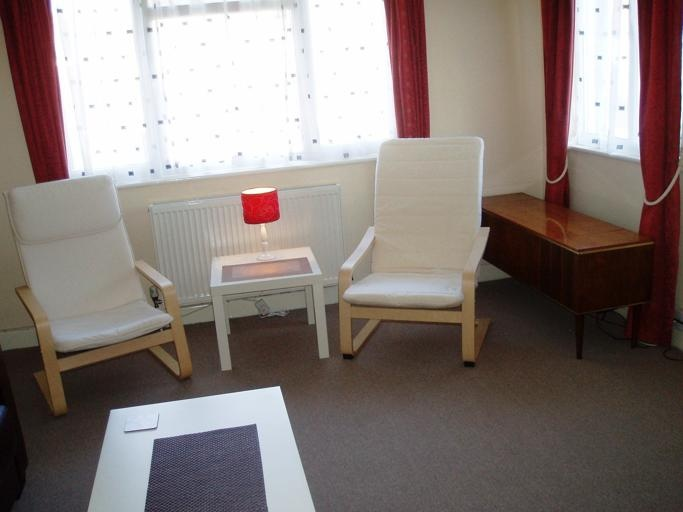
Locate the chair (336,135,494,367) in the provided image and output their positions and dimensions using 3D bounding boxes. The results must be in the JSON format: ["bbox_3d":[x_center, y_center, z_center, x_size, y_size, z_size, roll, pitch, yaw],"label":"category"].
[{"bbox_3d":[0.524,-0.075,3.711,1.032,1.312,1.063,1,23,16],"label":"chair"}]

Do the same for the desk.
[{"bbox_3d":[1.589,0.093,3.884,0.537,0.692,1.507,-7,14,-6],"label":"desk"}]

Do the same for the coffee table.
[{"bbox_3d":[-0.501,0.358,3.723,0.762,0.673,0.823,-9,22,-6],"label":"coffee table"}]

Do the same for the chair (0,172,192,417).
[{"bbox_3d":[-1.665,0.206,3.439,0.902,1.243,0.979,-20,26,-31],"label":"chair"}]
